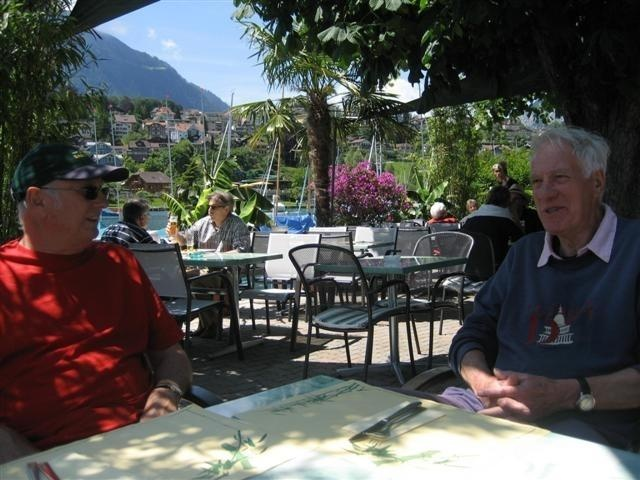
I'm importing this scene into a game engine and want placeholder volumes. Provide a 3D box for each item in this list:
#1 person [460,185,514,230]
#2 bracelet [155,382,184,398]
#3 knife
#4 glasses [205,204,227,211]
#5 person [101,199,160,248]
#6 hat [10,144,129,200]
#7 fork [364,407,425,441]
[{"bbox_3d":[2.231,-0.403,6.753,0.550,0.730,0.554,1,1,43],"label":"person"},{"bbox_3d":[-0.631,0.622,2.208,0.079,0.021,0.082,16,-2,0],"label":"bracelet"},{"bbox_3d":[0.223,0.527,1.601,0.075,0.059,0.427,-1,3,32],"label":"knife"},{"bbox_3d":[-1.405,-0.435,7.079,0.249,0.083,0.101,2,6,14],"label":"glasses"},{"bbox_3d":[-2.119,-0.194,5.845,0.821,0.505,0.450,5,3,25],"label":"person"},{"bbox_3d":[-1.102,-0.318,2.331,0.423,0.198,0.264,-3,5,-10],"label":"hat"},{"bbox_3d":[0.231,0.525,1.565,0.067,0.020,0.243,4,10,40],"label":"fork"}]
